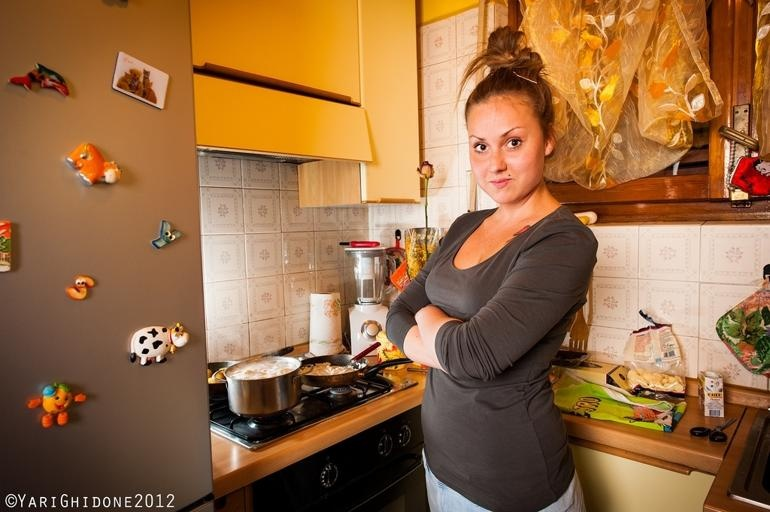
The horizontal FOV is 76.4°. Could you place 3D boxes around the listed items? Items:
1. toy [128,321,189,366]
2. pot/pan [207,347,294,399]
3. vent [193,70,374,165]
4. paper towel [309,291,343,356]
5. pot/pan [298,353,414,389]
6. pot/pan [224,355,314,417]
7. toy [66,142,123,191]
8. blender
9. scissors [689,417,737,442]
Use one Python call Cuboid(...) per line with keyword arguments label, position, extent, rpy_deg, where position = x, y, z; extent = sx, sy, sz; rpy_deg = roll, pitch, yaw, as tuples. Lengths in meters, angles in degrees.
Cuboid(label="toy", position=(-0.517, 0.195, 1.107), extent=(0.117, 0.073, 0.060), rpy_deg=(-10, 14, -38))
Cuboid(label="pot/pan", position=(-0.484, 0.411, 1.708), extent=(0.188, 0.071, 0.209), rpy_deg=(-4, 0, 40))
Cuboid(label="vent", position=(-0.334, -0.491, 1.801), extent=(0.751, 0.247, 0.043), rpy_deg=(-7, 5, -43))
Cuboid(label="paper towel", position=(-0.282, 0.310, 2.268), extent=(0.151, 0.278, 0.100), rpy_deg=(-4, 4, -10))
Cuboid(label="pot/pan", position=(-0.167, 0.419, 1.810), extent=(0.317, 0.046, 0.176), rpy_deg=(1, -2, -35))
Cuboid(label="pot/pan", position=(-0.408, 0.446, 1.651), extent=(0.246, 0.159, 0.247), rpy_deg=(-5, 4, -22))
Cuboid(label="toy", position=(-0.608, -0.187, 1.018), extent=(0.032, 0.090, 0.071), rpy_deg=(6, 52, 52))
Cuboid(label="blender", position=(-0.082, 0.199, 2.247), extent=(0.185, 0.484, 0.215), rpy_deg=(-4, 4, -5))
Cuboid(label="scissors", position=(1.080, 0.557, 1.564), extent=(0.202, 0.028, 0.085), rpy_deg=(-4, 4, -18))
